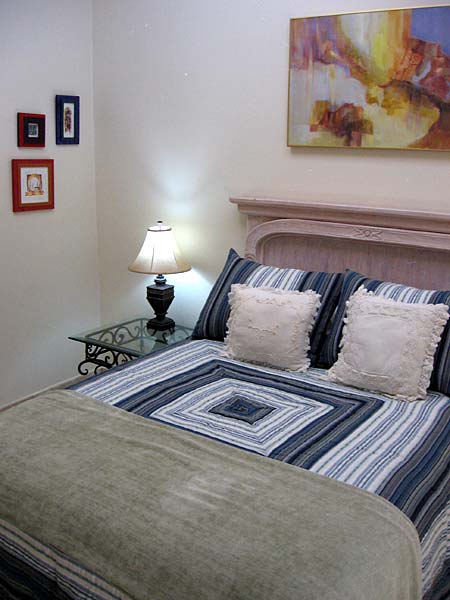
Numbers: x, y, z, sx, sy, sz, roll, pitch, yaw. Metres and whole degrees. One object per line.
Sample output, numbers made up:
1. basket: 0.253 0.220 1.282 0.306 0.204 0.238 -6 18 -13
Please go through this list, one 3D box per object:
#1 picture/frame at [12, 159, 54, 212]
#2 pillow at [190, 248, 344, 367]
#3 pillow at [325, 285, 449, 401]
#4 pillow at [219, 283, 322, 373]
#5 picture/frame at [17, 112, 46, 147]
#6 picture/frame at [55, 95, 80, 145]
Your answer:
1. picture/frame: -1.200 -0.723 2.953 0.328 0.310 0.024 5 9 22
2. pillow: 0.269 -0.075 2.394 0.632 0.163 0.531 9 18 19
3. pillow: 0.628 0.181 1.780 0.408 0.389 0.110 14 -11 38
4. pillow: 0.219 0.129 2.060 0.367 0.310 0.128 5 -9 24
5. picture/frame: -1.190 -1.040 2.850 0.023 0.213 0.223 18 22 30
6. picture/frame: -1.034 -1.178 3.076 0.057 0.325 0.188 6 9 30
